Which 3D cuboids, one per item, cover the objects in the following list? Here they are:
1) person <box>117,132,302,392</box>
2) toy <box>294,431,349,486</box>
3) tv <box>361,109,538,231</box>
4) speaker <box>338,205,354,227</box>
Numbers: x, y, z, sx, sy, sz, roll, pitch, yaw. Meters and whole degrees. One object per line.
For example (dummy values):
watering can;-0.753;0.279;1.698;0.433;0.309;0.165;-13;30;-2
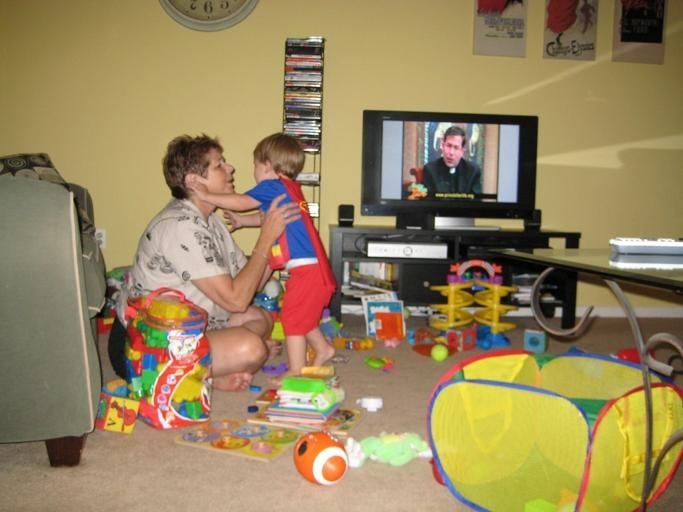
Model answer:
person;-0.514;-0.043;2.983;1.029;1.409;1.104;-1;13;-15
toy;-0.059;0.692;2.027;0.145;0.149;0.181;26;9;13
tv;0.717;-0.609;3.916;0.791;0.572;0.212;1;-2;-1
speaker;0.028;-0.274;3.768;0.092;0.128;0.119;-1;15;-7
